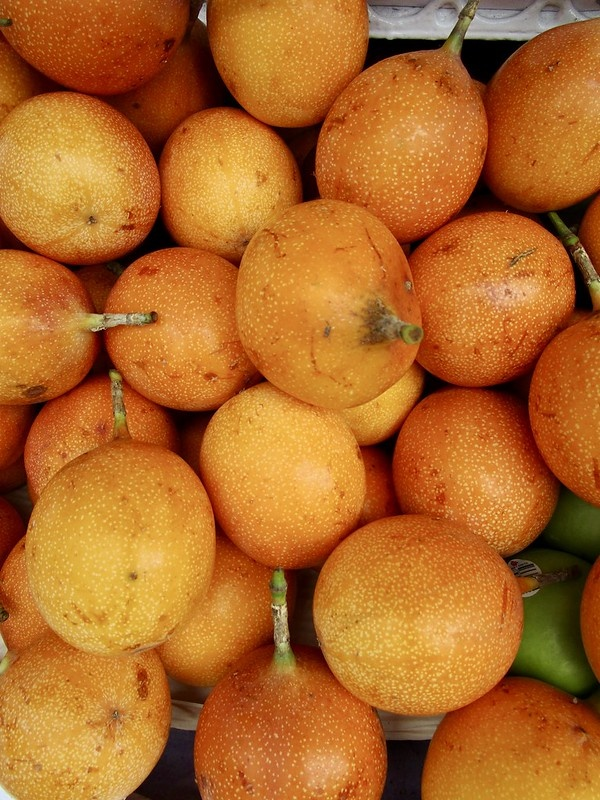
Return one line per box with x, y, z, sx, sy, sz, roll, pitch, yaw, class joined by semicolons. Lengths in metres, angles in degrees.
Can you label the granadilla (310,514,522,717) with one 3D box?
0.114;0.234;0.914;0.231;0.194;0.197;1;76;0;granadilla
